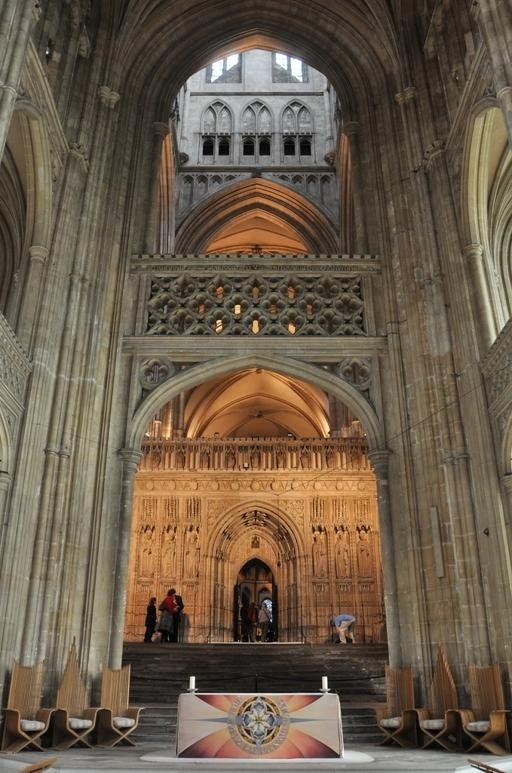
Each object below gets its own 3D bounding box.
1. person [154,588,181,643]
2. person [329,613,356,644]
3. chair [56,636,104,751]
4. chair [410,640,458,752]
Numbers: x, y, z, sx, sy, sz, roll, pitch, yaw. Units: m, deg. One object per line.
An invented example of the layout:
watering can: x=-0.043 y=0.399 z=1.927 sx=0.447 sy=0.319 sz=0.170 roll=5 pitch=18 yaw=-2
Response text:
person: x=-2.033 y=5.335 z=12.433 sx=0.514 sy=1.155 sz=1.350 roll=0 pitch=-21 yaw=-6
person: x=2.145 y=6.084 z=13.365 sx=0.552 sy=0.668 sz=2.018 roll=-4 pitch=-22 yaw=6
chair: x=-2.149 y=3.734 z=6.450 sx=0.330 sy=1.287 sz=0.643 roll=-26 pitch=-34 yaw=32
chair: x=2.112 y=3.626 z=6.223 sx=0.482 sy=0.989 sz=1.019 roll=-8 pitch=-22 yaw=16
